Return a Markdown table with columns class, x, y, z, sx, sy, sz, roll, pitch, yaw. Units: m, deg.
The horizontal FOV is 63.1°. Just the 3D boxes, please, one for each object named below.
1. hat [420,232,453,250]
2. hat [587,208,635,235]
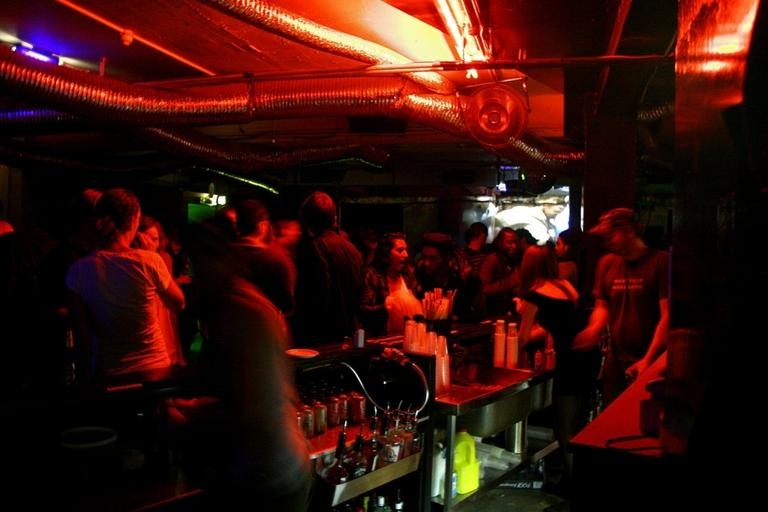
| class | x | y | z | sx | sy | sz | roll | pitch | yaw |
| --- | --- | --- | --- | --- | --- | --- | --- | --- | --- |
| hat | 0.482 | -0.143 | 5.820 | 0.200 | 0.096 | 0.199 | 5 | 2 | 26 |
| hat | 1.820 | -0.282 | 4.941 | 0.388 | 0.183 | 0.237 | -6 | 6 | 13 |
